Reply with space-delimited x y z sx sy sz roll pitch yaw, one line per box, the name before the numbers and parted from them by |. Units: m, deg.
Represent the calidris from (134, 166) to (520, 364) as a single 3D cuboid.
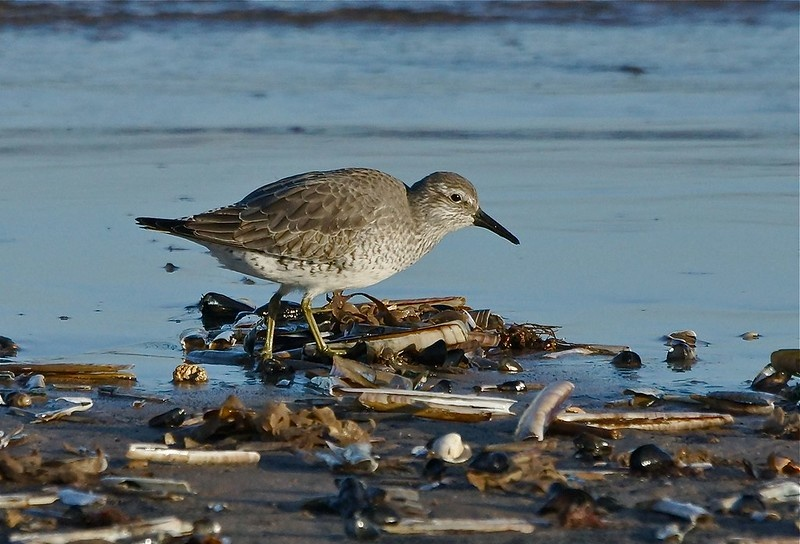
calidris | -0.803 0.013 9.496 3.406 1.072 0.811 3 4 -10
